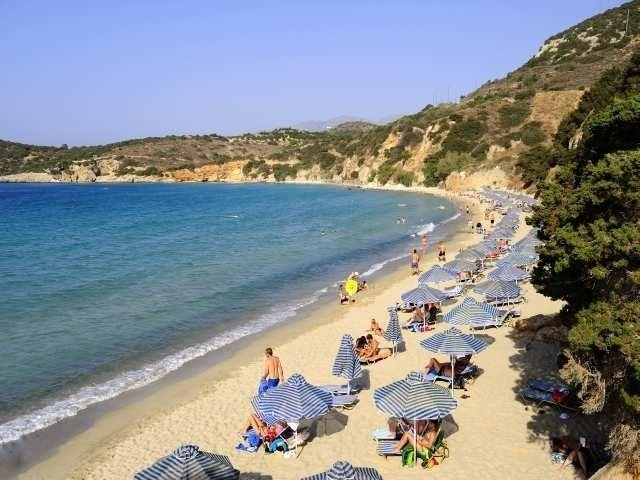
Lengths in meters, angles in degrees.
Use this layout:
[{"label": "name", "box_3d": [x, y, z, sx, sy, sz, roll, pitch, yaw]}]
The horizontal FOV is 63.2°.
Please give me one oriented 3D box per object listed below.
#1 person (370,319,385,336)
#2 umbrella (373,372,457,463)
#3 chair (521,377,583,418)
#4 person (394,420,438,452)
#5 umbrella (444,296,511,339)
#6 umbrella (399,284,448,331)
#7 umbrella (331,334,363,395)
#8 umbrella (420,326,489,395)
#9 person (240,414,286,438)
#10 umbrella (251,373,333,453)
[{"label": "person", "box_3d": [2.238, 3.556, 21.106, 0.294, 0.645, 0.807, 50, -5, 23]}, {"label": "umbrella", "box_3d": [2.189, 4.612, 14.575, 2.936, 2.139, 2.332, 4, 18, 15]}, {"label": "chair", "box_3d": [6.883, 4.621, 15.455, 0.841, 0.632, 1.810, -14, 15, -42]}, {"label": "person", "box_3d": [2.604, 5.341, 14.372, 1.403, 0.985, 0.592, -1, -5, 9]}, {"label": "umbrella", "box_3d": [5.919, 2.902, 18.968, 2.337, 0.539, 1.906, -1, 8, -2]}, {"label": "umbrella", "box_3d": [4.347, 2.486, 21.958, 1.552, 0.928, 1.269, -3, 6, -12]}, {"label": "umbrella", "box_3d": [0.859, 4.087, 16.999, 0.890, 1.966, 1.206, -4, 14, 0]}, {"label": "umbrella", "box_3d": [4.532, 3.484, 17.169, 1.644, 1.308, 1.448, 5, -19, -29]}, {"label": "person", "box_3d": [-1.598, 5.518, 15.423, 1.757, 0.486, 0.591, 4, -13, 14]}, {"label": "umbrella", "box_3d": [-0.655, 4.593, 14.361, 2.064, 1.249, 1.691, -4, 8, -8]}]
